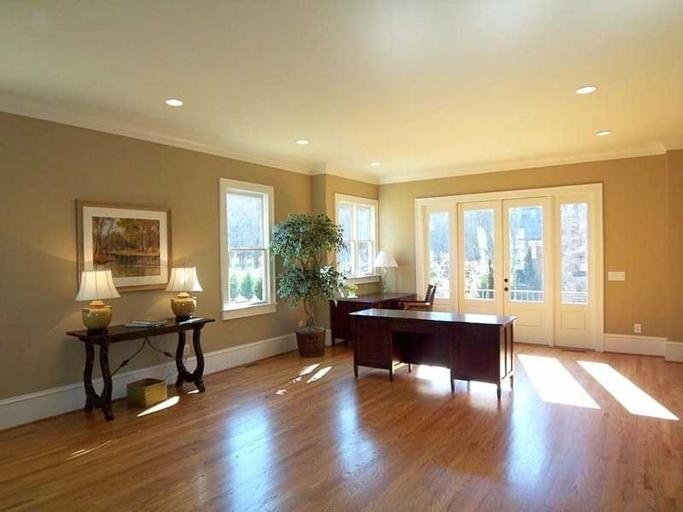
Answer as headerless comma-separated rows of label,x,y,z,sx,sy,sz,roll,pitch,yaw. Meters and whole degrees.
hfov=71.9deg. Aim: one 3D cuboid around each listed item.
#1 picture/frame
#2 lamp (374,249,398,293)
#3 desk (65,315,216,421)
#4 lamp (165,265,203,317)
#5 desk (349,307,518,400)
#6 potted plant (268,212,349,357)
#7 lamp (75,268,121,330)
picture/frame,-2.572,-0.114,5.438,0.073,1.095,1.064,5,8,41
lamp,0.825,0.301,8.778,0.493,0.758,0.488,2,-7,-30
desk,-2.306,1.242,5.389,0.677,0.816,1.371,-4,-2,42
lamp,-1.981,0.453,5.856,0.391,0.525,0.552,-2,-1,-23
desk,1.121,1.187,5.896,1.946,0.881,0.749,-2,-2,36
potted plant,-0.456,0.405,7.290,1.016,1.931,1.102,-3,-1,22
lamp,-2.637,0.496,5.080,0.438,0.676,0.443,-3,-1,-11
